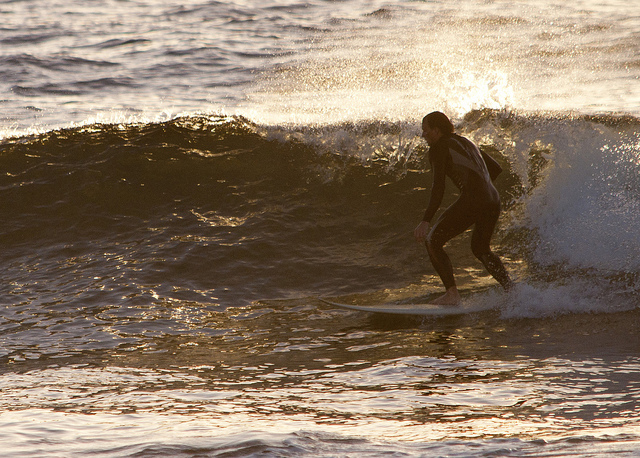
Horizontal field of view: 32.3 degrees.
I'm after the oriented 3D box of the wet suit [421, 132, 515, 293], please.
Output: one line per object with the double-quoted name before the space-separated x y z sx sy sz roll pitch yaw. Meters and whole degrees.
"wet suit" 2.223 -0.270 16.868 1.263 2.403 0.637 2 21 3
